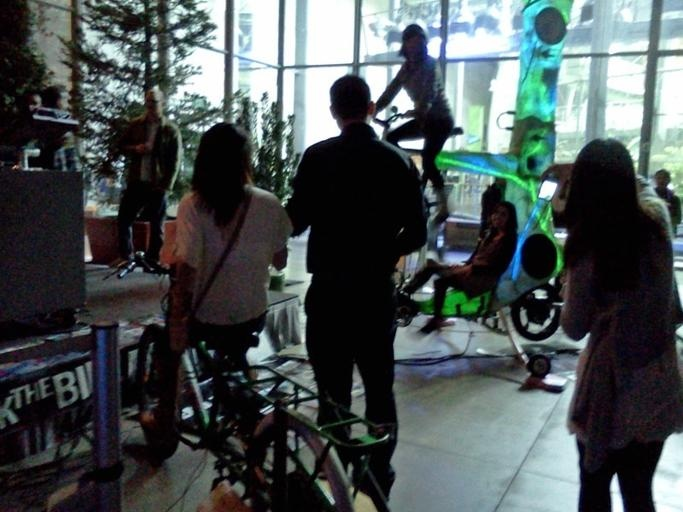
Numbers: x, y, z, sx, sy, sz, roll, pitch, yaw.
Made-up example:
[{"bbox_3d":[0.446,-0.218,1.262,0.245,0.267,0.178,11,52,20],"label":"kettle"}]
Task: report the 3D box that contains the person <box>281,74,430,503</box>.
[{"bbox_3d":[0.065,-0.022,2.638,0.657,1.655,0.291,0,9,-9],"label":"person"}]
